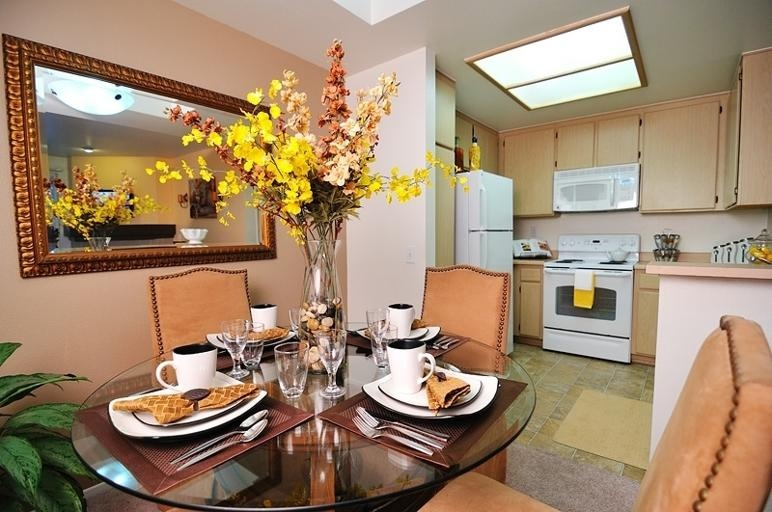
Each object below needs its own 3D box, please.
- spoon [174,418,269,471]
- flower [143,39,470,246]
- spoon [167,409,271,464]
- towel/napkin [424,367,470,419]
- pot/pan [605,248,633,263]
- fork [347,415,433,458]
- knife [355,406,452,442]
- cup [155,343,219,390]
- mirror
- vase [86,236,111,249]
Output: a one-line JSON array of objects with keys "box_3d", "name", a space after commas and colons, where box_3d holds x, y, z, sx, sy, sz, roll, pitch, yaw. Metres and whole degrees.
[{"box_3d": [-0.616, 0.703, 1.731, 0.305, 0.051, 0.063, -23, 36, -35], "name": "spoon"}, {"box_3d": [-0.568, -0.769, 3.046, 1.461, 1.025, 1.478, 9, 12, 42], "name": "flower"}, {"box_3d": [-0.631, 0.681, 1.748, 0.070, 0.047, 0.355, 9, 24, 45], "name": "spoon"}, {"box_3d": [0.230, 0.531, 1.840, 0.131, 0.040, 0.136, 8, 15, 44], "name": "towel/napkin"}, {"box_3d": [2.445, -0.004, 4.933, 0.190, 0.122, 0.123, -4, 5, 3], "name": "pot/pan"}, {"box_3d": [0.020, 0.688, 1.769, 0.283, 0.040, 0.048, 16, 35, 19], "name": "fork"}, {"box_3d": [0.080, 0.651, 1.802, 0.367, 0.055, 0.059, 9, 20, 22], "name": "knife"}, {"box_3d": [-0.826, 0.458, 1.989, 0.248, 0.175, 0.157, -4, 8, -32], "name": "cup"}, {"box_3d": [-1.584, -0.615, 2.880, 0.096, 1.426, 1.851, -1, 0, 38], "name": "mirror"}, {"box_3d": [-1.771, -0.081, 2.898, 0.074, 0.051, 0.075, -2, 0, 44], "name": "vase"}]
